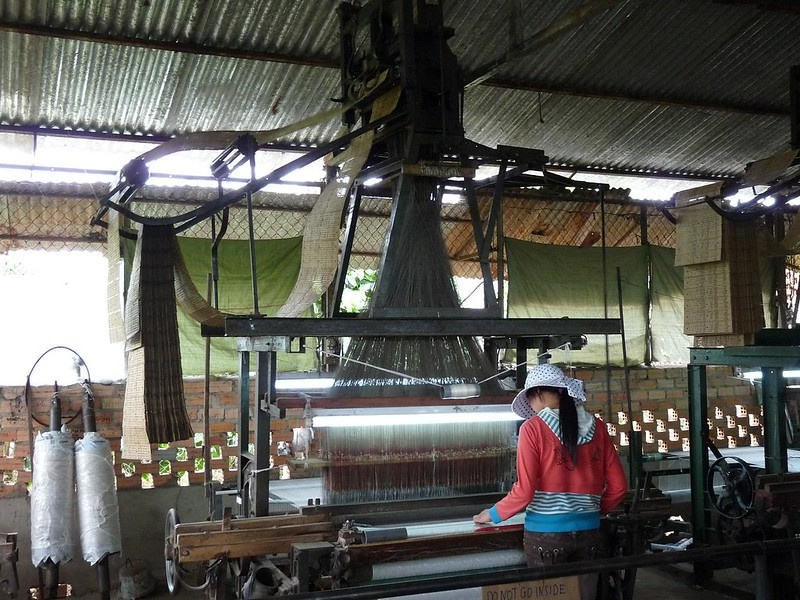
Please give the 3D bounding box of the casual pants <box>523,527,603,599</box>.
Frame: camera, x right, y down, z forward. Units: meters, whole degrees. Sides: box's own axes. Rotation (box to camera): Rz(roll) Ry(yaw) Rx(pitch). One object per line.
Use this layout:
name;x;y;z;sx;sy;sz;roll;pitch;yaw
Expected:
casual pants;0.914;1.474;4.176;0.452;0.459;0.271;2;-10;-12

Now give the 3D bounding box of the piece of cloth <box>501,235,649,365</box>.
piece of cloth;1.945;-0.007;8.239;1.742;1.380;0.071;1;2;-16

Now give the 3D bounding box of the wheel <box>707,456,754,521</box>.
wheel;2.747;1.560;6.122;0.201;0.510;0.502;0;-9;-25

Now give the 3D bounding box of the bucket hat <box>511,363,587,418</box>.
bucket hat;0.930;0.539;4.533;0.402;0.223;0.383;10;-27;-19

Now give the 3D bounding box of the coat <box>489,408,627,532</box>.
coat;0.939;1.049;4.506;0.848;0.647;0.382;-1;4;-11

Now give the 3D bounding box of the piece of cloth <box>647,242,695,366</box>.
piece of cloth;3.551;0.086;9.745;0.681;1.558;0.401;0;-9;-25

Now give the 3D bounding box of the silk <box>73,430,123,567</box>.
silk;-2.831;1.819;6.879;0.376;1.173;0.262;-1;-9;-22

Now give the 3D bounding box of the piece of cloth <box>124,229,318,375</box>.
piece of cloth;-1.538;0.023;6.143;1.691;1.168;0.031;0;-7;-19

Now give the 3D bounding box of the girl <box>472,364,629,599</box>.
girl;0.950;1.036;4.512;0.952;0.709;0.420;-1;-1;-17
